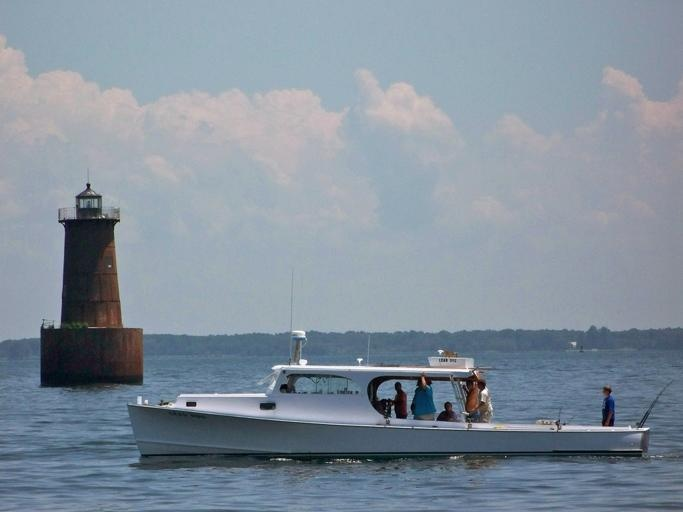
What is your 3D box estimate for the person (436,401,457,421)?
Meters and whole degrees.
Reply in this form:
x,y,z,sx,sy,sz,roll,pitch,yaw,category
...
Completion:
x,y,z,sx,sy,sz,roll,pitch,yaw,category
4.127,6.259,60.717,0.974,0.918,0.583,0,-6,-2,person
